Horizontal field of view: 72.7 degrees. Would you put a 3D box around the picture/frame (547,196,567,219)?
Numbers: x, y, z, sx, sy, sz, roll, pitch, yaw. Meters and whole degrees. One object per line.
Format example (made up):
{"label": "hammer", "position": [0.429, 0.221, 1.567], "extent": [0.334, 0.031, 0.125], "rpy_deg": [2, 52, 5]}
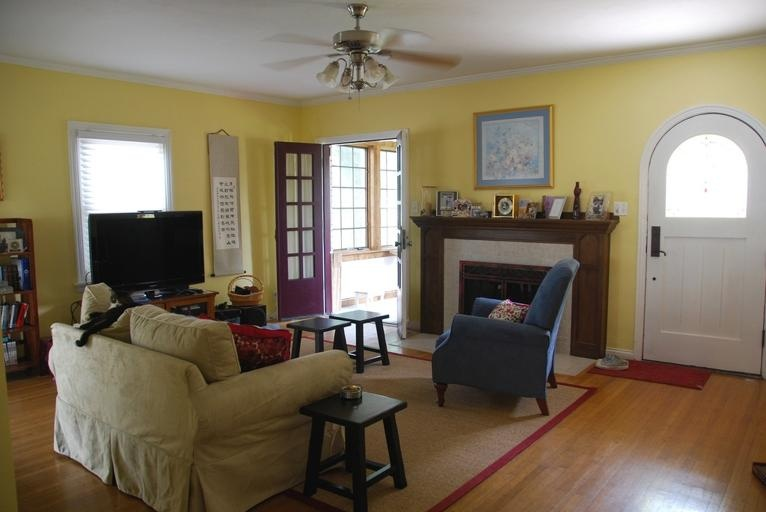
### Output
{"label": "picture/frame", "position": [1.936, -0.546, 5.804], "extent": [0.054, 0.224, 0.218], "rpy_deg": [15, -5, -33]}

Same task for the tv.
{"label": "tv", "position": [-2.684, -0.049, 5.923], "extent": [0.292, 0.911, 1.302], "rpy_deg": [5, 8, 38]}

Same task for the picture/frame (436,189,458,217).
{"label": "picture/frame", "position": [0.795, -0.657, 6.445], "extent": [0.375, 0.420, 0.044], "rpy_deg": [1, 1, 33]}

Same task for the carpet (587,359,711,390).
{"label": "carpet", "position": [2.755, 1.164, 5.320], "extent": [1.032, 0.033, 0.577], "rpy_deg": [6, 14, 27]}

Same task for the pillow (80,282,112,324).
{"label": "pillow", "position": [-2.322, 0.370, 4.171], "extent": [0.316, 0.310, 0.137], "rpy_deg": [14, -9, -41]}

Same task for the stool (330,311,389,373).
{"label": "stool", "position": [-0.179, 0.864, 5.687], "extent": [0.620, 0.698, 0.623], "rpy_deg": [-3, 2, -44]}

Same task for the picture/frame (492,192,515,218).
{"label": "picture/frame", "position": [1.407, -0.595, 6.046], "extent": [0.243, 0.246, 0.132], "rpy_deg": [3, 14, 14]}

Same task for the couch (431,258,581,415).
{"label": "couch", "position": [1.157, 0.682, 4.921], "extent": [1.440, 1.223, 1.222], "rpy_deg": [-1, 4, 5]}

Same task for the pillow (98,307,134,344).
{"label": "pillow", "position": [-1.930, 0.501, 3.786], "extent": [0.228, 0.083, 0.228], "rpy_deg": [4, 16, 22]}

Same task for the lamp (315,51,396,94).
{"label": "lamp", "position": [-0.213, -1.581, 4.446], "extent": [0.593, 0.258, 0.557], "rpy_deg": [-7, -2, 36]}

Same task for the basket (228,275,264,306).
{"label": "basket", "position": [-1.759, 0.416, 6.608], "extent": [0.439, 0.371, 0.402], "rpy_deg": [-1, 3, -15]}

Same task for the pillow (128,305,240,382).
{"label": "pillow", "position": [-1.434, 0.555, 3.634], "extent": [0.986, 0.405, 0.325], "rpy_deg": [8, 18, 32]}
